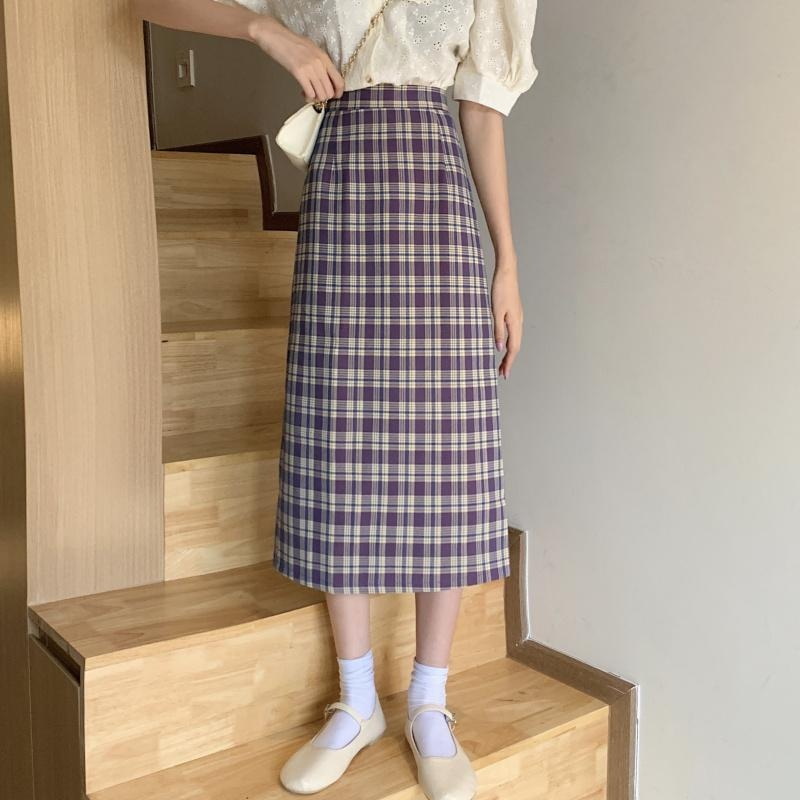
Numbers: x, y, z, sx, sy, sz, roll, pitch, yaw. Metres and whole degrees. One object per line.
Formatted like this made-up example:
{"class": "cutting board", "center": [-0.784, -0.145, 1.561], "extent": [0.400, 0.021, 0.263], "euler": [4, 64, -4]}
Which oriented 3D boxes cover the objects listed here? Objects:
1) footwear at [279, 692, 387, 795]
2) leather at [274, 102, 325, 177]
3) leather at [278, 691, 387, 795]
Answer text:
{"class": "footwear", "center": [-0.098, 0.552, 1.288], "extent": [0.072, 0.066, 0.190], "euler": [5, 6, 34]}
{"class": "leather", "center": [-0.151, -0.397, 1.277], "extent": [0.051, 0.072, 0.028], "euler": [-13, -20, -4]}
{"class": "leather", "center": [-0.101, 0.555, 1.293], "extent": [0.073, 0.066, 0.189], "euler": [5, 6, 34]}
